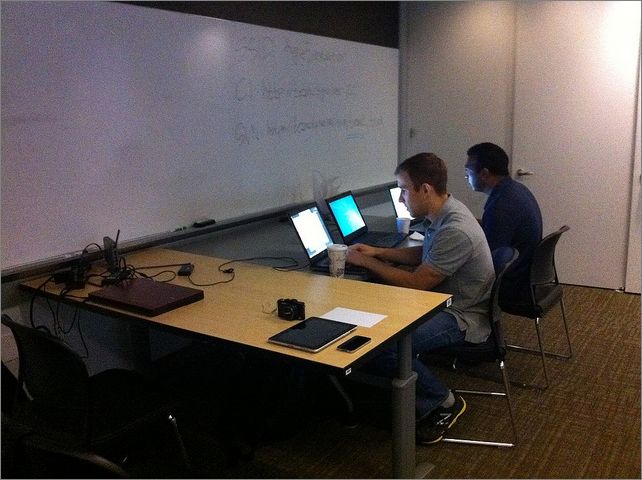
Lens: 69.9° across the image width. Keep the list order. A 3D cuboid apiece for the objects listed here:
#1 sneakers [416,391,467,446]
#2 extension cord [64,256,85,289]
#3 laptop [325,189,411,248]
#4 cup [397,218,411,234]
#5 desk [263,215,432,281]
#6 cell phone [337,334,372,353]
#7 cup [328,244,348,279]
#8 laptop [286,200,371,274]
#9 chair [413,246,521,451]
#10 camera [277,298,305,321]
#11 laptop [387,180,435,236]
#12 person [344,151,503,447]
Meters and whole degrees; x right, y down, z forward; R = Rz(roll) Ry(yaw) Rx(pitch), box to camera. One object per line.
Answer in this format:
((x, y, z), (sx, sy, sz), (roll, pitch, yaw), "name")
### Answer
((0.647, 0.993, 2.551), (0.382, 0.155, 0.136), (-33, 15, -31), "sneakers")
((-1.207, 0.166, 2.254), (0.082, 0.058, 0.147), (-3, 51, -24), "extension cord")
((0.329, -0.151, 3.188), (0.511, 0.326, 0.545), (6, 14, 37), "laptop")
((0.604, -0.105, 3.346), (0.098, 0.106, 0.099), (0, 13, 0), "cup")
((0.122, 0.009, 2.703), (0.469, 0.287, 0.584), (2, 11, 28), "desk")
((0.121, 0.363, 1.657), (0.049, 0.010, 0.095), (9, 16, 31), "cell phone")
((0.089, 0.114, 2.465), (0.126, 0.174, 0.131), (-1, 13, 0), "cup")
((0.106, -0.040, 2.775), (0.502, 0.331, 0.576), (0, 11, 9), "laptop")
((0.884, 0.589, 2.609), (0.606, 0.900, 0.612), (-2, -4, 41), "chair")
((-0.123, 0.276, 1.903), (0.134, 0.098, 0.073), (2, 7, 25), "camera")
((0.663, -0.194, 3.574), (0.344, 0.486, 0.512), (1, 14, 26), "laptop")
((0.579, 0.352, 2.697), (0.843, 1.586, 0.656), (-3, 8, 7), "person")
